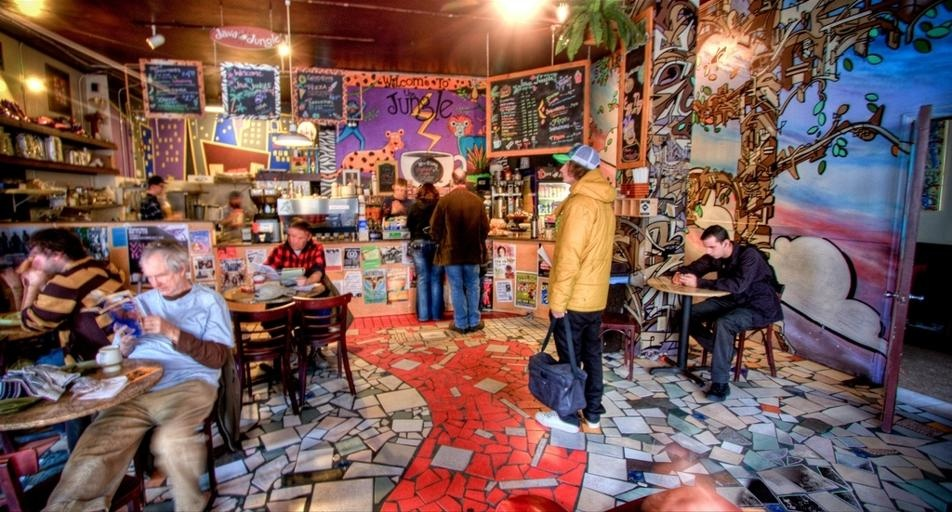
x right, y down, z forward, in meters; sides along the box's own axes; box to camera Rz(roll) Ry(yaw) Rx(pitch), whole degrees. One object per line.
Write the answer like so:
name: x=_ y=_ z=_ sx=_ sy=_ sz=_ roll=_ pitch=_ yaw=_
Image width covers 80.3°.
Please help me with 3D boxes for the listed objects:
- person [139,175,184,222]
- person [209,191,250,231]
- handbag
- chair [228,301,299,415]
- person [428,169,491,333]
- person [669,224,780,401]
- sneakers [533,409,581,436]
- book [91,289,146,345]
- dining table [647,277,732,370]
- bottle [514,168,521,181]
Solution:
person: x=-6.519 y=-1.196 z=11.868 sx=0.980 sy=0.830 sz=0.673 roll=-3 pitch=21 yaw=-14
person: x=-5.824 y=-1.102 z=13.456 sx=0.763 sy=0.939 sz=2.205 roll=-3 pitch=7 yaw=-23
handbag: x=1.127 y=1.515 z=7.797 sx=0.778 sy=1.361 sz=0.336 roll=0 pitch=7 yaw=9
chair: x=-3.147 y=1.422 z=8.448 sx=0.891 sy=1.636 sz=1.573 roll=-3 pitch=7 yaw=-21
person: x=-0.279 y=-0.010 z=10.089 sx=1.004 sy=2.731 sz=0.330 roll=-1 pitch=7 yaw=-1
person: x=3.812 y=0.818 z=8.629 sx=1.471 sy=2.550 sz=0.982 roll=2 pitch=8 yaw=23
sneakers: x=1.130 y=2.359 z=8.088 sx=0.696 sy=0.229 sz=0.235 roll=13 pitch=-7 yaw=10
book: x=-4.442 y=0.622 z=7.067 sx=0.496 sy=0.656 sz=0.277 roll=-2 pitch=26 yaw=-38
dining table: x=2.988 y=1.080 z=9.031 sx=1.572 sy=1.442 sz=1.568 roll=3 pitch=4 yaw=36
bottle: x=0.901 y=-1.764 z=12.233 sx=0.136 sy=0.249 sz=0.287 roll=1 pitch=7 yaw=13
